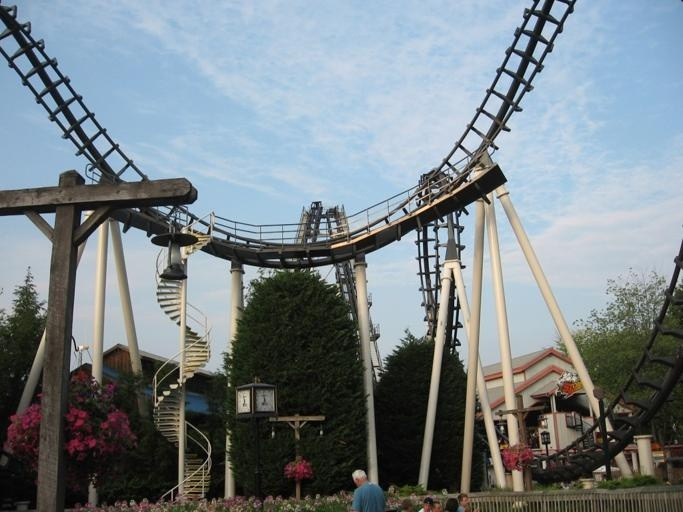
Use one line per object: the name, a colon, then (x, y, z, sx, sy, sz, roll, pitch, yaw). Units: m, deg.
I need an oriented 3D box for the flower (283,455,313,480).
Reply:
flower: (-1.760, 8.396, 28.345, 0.964, 0.865, 1.013, 4, -10, -15)

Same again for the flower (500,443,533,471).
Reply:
flower: (6.695, 7.620, 27.126, 1.161, 0.843, 1.087, 2, -9, -20)
